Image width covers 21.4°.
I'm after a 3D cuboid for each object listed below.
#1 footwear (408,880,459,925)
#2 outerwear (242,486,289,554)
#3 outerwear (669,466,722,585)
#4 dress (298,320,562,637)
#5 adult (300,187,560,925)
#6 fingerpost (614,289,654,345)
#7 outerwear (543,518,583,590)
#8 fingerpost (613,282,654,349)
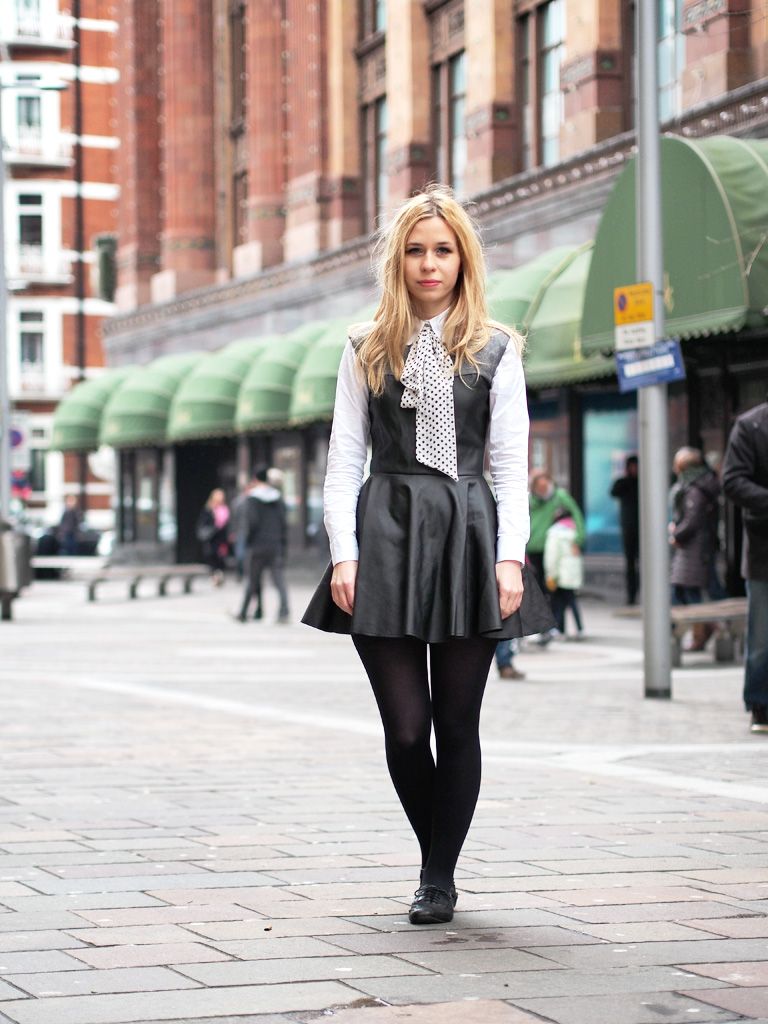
[{"bbox_3d":[0.134,1.004,5.244,0.156,0.098,0.117,-1,-2,-23],"label":"footwear"},{"bbox_3d":[-1.182,0.050,20.105,0.493,0.681,0.348,-2,-2,-19],"label":"outerwear"},{"bbox_3d":[2.317,0.101,15.078,0.379,0.899,0.600,-3,-2,9],"label":"outerwear"},{"bbox_3d":[0.096,-0.065,5.204,0.636,0.796,0.299,-2,-2,1],"label":"dress"},{"bbox_3d":[0.122,0.135,5.278,0.653,1.859,0.543,0,0,-1],"label":"adult"},{"bbox_3d":[1.443,-1.118,11.616,0.025,0.444,0.349,-2,1,-38],"label":"fingerpost"},{"bbox_3d":[1.458,0.328,16.495,0.259,0.599,0.411,1,-21,26],"label":"outerwear"},{"bbox_3d":[1.450,-1.109,11.632,0.116,0.346,0.355,-2,-2,-19],"label":"fingerpost"}]
